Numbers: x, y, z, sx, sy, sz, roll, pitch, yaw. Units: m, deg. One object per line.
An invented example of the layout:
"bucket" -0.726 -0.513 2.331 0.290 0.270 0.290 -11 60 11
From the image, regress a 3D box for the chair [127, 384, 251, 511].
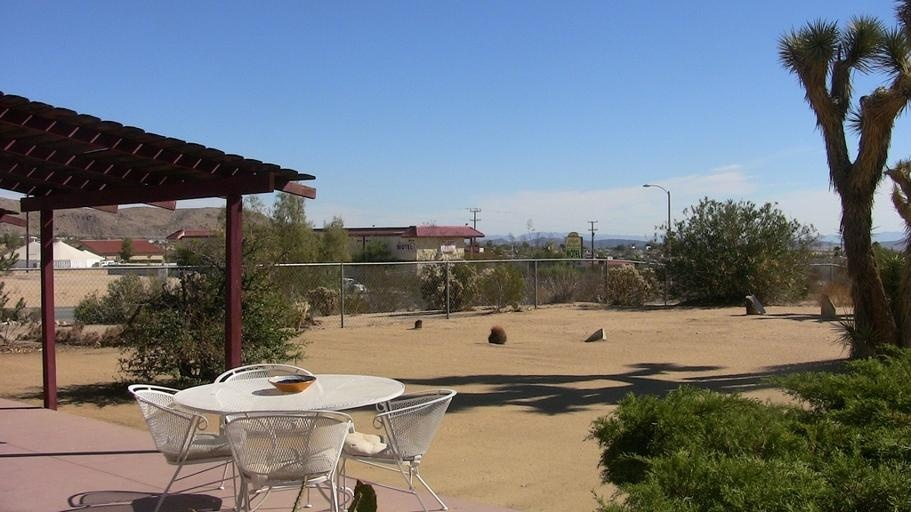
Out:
"chair" -3.649 2.784 9.973 1.687 2.131 1.690 -2 4 -16

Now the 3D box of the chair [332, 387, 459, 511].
"chair" -0.708 2.647 10.455 1.667 1.454 1.539 3 -3 5
